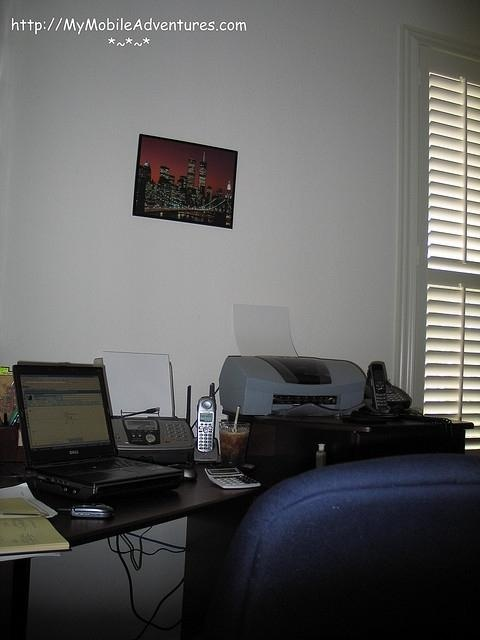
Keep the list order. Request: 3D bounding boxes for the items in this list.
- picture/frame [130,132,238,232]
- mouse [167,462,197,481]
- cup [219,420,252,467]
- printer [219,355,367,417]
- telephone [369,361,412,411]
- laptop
[{"bbox_3d":[-0.221,-0.501,1.855,0.325,0.286,0.012,10,-7,-21],"label":"picture/frame"},{"bbox_3d":[-0.146,0.381,1.299,0.049,0.036,0.078,12,-8,-37],"label":"mouse"},{"bbox_3d":[-0.018,0.346,1.420,0.095,0.122,0.103,1,-11,0],"label":"cup"},{"bbox_3d":[0.182,0.207,1.642,0.469,0.200,0.252,-4,8,-16],"label":"printer"},{"bbox_3d":[0.459,0.218,1.569,0.093,0.180,0.066,-5,-7,-3],"label":"telephone"},{"bbox_3d":[-0.304,0.191,1.184,0.300,0.307,0.303,0,-5,34],"label":"laptop"}]
